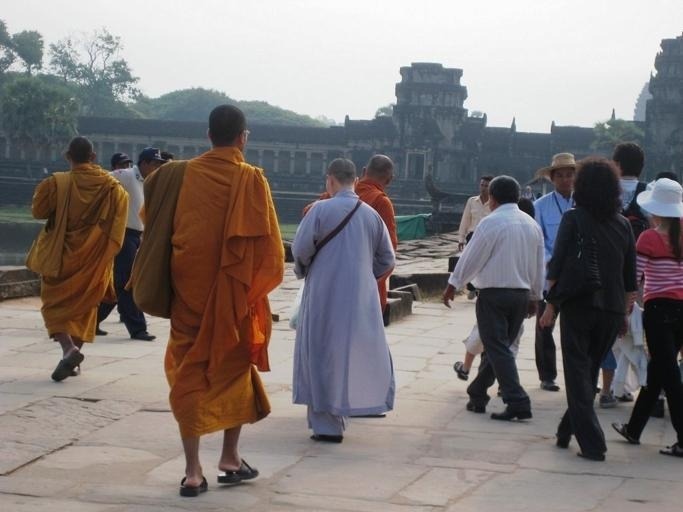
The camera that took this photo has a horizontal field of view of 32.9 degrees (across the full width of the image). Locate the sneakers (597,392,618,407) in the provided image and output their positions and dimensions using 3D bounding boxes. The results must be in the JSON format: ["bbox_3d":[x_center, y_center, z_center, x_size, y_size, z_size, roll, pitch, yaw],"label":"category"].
[{"bbox_3d":[2.062,1.115,8.918,0.167,0.082,0.074,-3,3,-41],"label":"sneakers"}]

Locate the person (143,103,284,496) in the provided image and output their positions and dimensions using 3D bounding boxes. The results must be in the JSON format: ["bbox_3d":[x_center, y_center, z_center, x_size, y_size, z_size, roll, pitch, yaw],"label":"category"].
[{"bbox_3d":[-0.791,0.371,7.387,0.834,2.114,0.730,-2,12,-23],"label":"person"}]

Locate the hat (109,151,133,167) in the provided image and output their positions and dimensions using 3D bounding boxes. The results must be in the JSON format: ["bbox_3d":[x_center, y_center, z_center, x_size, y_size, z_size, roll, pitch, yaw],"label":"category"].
[{"bbox_3d":[-2.171,-0.950,11.324,0.224,0.117,0.158,-9,-1,19],"label":"hat"}]

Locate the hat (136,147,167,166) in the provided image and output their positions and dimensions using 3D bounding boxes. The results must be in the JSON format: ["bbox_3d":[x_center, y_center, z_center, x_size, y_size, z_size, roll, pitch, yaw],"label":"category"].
[{"bbox_3d":[-1.743,-0.946,10.715,0.248,0.114,0.150,-2,1,15],"label":"hat"}]

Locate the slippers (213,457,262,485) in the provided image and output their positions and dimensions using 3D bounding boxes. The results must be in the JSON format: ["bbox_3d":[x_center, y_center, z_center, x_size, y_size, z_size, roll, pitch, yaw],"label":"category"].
[{"bbox_3d":[-0.648,1.375,7.398,0.295,0.121,0.113,-2,6,-35],"label":"slippers"}]

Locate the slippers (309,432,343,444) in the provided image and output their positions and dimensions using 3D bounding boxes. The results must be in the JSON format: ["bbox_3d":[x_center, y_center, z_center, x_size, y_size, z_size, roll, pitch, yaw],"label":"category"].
[{"bbox_3d":[-0.094,1.262,8.098,0.227,0.084,0.077,6,-1,9],"label":"slippers"}]

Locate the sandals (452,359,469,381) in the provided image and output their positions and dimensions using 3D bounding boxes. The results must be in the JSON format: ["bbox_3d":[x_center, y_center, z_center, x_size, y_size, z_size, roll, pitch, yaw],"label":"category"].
[{"bbox_3d":[0.990,0.940,9.492,0.080,0.076,0.193,1,10,-6],"label":"sandals"}]

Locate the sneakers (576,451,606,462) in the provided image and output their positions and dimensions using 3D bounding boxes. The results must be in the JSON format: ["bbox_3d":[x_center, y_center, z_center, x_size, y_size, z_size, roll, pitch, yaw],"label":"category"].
[{"bbox_3d":[1.681,1.324,7.723,0.167,0.044,0.064,6,4,35],"label":"sneakers"}]

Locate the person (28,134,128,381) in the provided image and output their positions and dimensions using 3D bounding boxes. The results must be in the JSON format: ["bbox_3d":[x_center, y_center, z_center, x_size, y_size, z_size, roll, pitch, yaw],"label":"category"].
[{"bbox_3d":[-2.111,-0.124,9.508,0.744,1.669,0.580,-7,14,-41],"label":"person"}]

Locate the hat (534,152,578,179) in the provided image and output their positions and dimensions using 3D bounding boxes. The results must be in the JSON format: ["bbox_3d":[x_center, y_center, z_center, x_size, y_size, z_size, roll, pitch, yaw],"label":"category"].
[{"bbox_3d":[1.811,-0.813,9.762,0.262,0.129,0.353,12,-16,-28],"label":"hat"}]

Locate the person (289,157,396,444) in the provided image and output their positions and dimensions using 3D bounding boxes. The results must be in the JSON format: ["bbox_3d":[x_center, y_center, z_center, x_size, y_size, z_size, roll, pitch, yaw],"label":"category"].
[{"bbox_3d":[0.028,0.293,8.224,0.761,1.926,0.703,2,11,-2],"label":"person"}]

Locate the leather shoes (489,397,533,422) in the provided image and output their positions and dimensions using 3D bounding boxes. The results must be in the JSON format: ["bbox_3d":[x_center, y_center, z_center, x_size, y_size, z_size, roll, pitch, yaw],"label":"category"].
[{"bbox_3d":[1.281,1.153,8.581,0.367,0.157,0.119,-2,0,23],"label":"leather shoes"}]

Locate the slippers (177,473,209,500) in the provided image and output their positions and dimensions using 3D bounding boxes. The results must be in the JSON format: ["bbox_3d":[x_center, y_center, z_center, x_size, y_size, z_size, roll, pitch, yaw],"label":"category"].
[{"bbox_3d":[-0.909,1.425,7.185,0.173,0.108,0.131,1,10,-7],"label":"slippers"}]

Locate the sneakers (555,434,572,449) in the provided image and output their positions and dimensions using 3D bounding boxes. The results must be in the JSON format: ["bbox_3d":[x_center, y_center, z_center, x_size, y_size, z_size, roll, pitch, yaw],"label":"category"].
[{"bbox_3d":[1.539,1.277,7.929,0.052,0.058,0.147,2,5,4],"label":"sneakers"}]

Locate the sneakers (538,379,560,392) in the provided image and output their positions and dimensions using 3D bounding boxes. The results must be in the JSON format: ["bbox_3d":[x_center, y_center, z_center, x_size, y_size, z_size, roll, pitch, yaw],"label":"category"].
[{"bbox_3d":[1.702,1.056,9.440,0.063,0.071,0.179,1,-6,-28],"label":"sneakers"}]

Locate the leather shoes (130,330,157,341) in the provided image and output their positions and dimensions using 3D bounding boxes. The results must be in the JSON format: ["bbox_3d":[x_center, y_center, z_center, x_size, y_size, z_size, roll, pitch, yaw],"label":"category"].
[{"bbox_3d":[-1.858,0.753,10.942,0.261,0.093,0.091,0,0,5],"label":"leather shoes"}]
